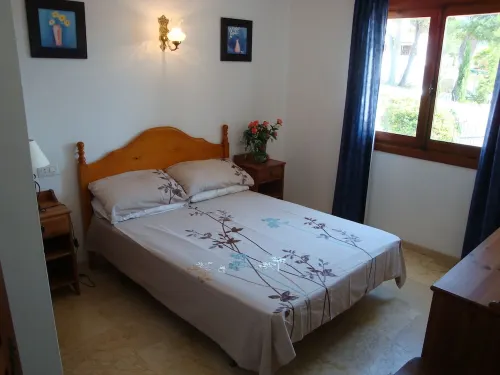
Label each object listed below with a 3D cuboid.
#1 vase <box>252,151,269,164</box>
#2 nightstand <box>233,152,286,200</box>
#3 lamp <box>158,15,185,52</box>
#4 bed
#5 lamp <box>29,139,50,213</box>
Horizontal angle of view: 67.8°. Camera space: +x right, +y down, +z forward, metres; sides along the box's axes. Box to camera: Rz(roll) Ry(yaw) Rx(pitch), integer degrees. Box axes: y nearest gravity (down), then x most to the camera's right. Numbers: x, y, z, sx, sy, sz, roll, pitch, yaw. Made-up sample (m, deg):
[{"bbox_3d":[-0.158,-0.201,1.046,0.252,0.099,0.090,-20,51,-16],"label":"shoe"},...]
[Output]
[{"bbox_3d":[0.121,-0.355,4.379,0.131,0.105,0.144,-7,11,-32],"label":"vase"},{"bbox_3d":[0.093,-0.132,4.287,0.317,0.602,0.345,18,28,40],"label":"nightstand"},{"bbox_3d":[-0.775,-1.517,3.684,0.245,0.330,0.253,-2,19,-10],"label":"lamp"},{"bbox_3d":[-0.188,0.226,3.189,2.376,1.151,1.636,19,25,41],"label":"bed"},{"bbox_3d":[-1.675,-0.111,3.005,0.132,0.541,0.612,-8,21,-28],"label":"lamp"}]
